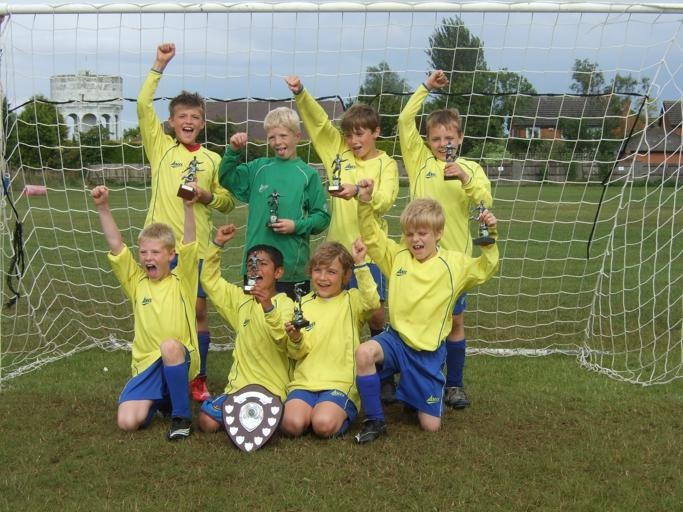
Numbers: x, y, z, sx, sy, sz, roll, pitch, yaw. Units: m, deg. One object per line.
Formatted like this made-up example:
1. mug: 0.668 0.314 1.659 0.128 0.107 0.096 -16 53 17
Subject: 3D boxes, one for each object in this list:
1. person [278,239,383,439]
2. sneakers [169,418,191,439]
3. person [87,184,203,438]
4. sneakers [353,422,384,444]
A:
1. person: -0.066 0.618 6.641 0.702 1.503 0.849 3 14 3
2. sneakers: -1.280 1.376 6.463 0.094 0.113 0.230 -3 -8 15
3. person: -1.540 0.410 6.692 0.837 1.894 1.191 -3 15 -22
4. sneakers: 0.192 1.392 6.412 0.101 0.139 0.303 -2 0 38
